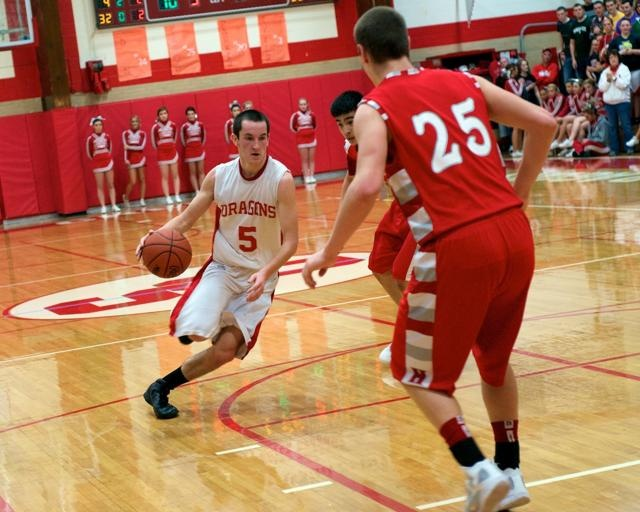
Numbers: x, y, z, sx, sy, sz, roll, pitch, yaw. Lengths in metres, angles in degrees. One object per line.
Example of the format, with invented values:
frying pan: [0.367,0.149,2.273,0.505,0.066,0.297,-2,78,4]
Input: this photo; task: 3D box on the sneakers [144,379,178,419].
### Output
sneakers: [-0.885,0.807,3.393,0.103,0.167,0.276,5,22,-47]

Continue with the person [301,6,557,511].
person: [0.434,0.144,2.002,0.583,1.516,0.737,-2,10,39]

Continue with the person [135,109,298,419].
person: [-0.585,0.017,3.473,0.980,1.685,0.718,-8,8,-1]
